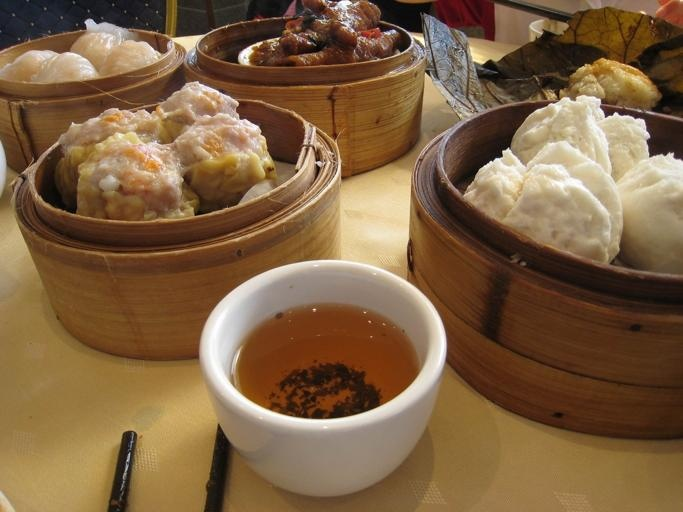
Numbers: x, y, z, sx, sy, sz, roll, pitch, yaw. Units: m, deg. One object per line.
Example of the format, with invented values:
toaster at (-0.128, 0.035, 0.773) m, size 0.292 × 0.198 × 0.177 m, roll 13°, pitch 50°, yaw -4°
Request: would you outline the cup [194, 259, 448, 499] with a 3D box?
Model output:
cup at (-0.033, 0.222, 1.026) m, size 0.427 × 0.265 × 0.373 m, roll 14°, pitch 39°, yaw 13°
